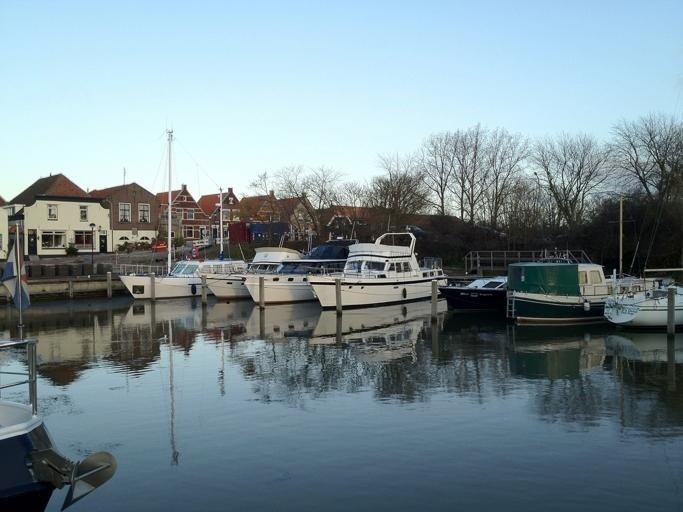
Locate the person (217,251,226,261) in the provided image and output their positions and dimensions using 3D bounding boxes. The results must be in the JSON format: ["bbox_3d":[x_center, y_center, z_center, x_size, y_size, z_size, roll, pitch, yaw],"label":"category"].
[{"bbox_3d":[-8.913,0.022,50.471,0.580,0.736,1.218,-6,6,-4],"label":"person"}]
